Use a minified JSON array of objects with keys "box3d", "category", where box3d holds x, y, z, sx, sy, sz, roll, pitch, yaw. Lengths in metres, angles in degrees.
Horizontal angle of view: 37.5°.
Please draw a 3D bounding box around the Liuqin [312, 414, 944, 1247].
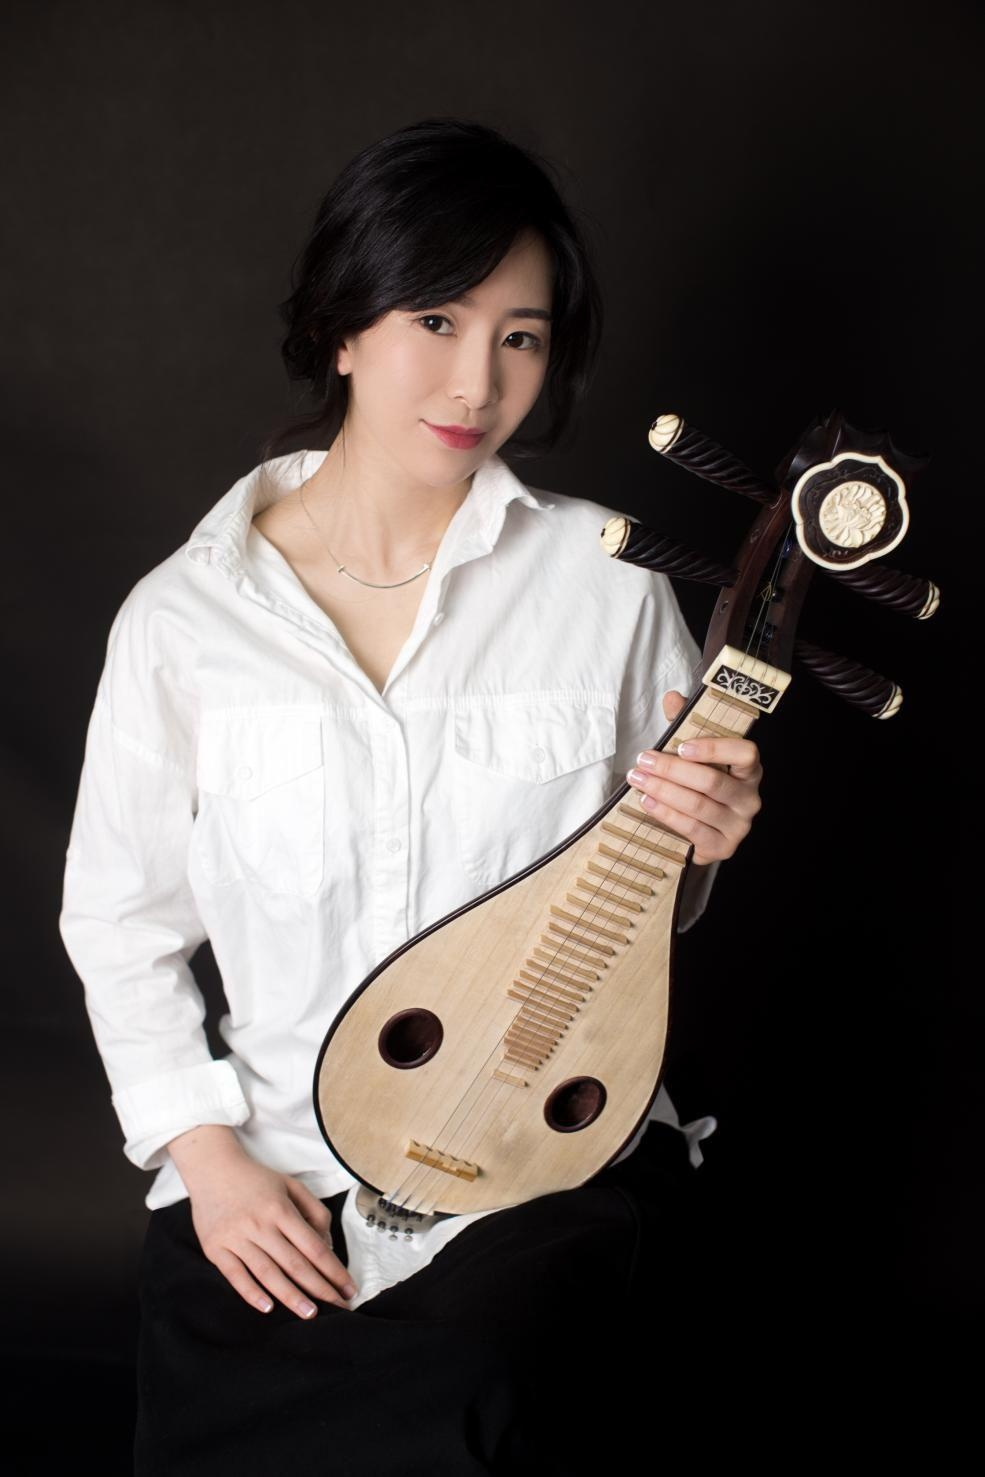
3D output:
[{"box3d":[0.123,0.145,1.693,0.453,1.100,0.221,33,13,-10],"category":"Liuqin"}]
